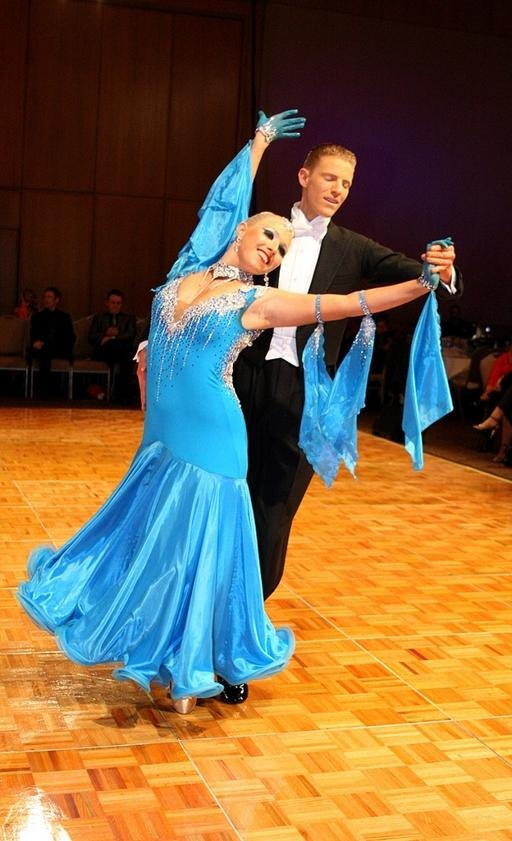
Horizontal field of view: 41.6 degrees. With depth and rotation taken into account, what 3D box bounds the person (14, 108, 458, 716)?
[{"bbox_3d":[-0.060,0.028,1.596,0.930,1.388,0.607,21,25,32],"label":"person"}]
